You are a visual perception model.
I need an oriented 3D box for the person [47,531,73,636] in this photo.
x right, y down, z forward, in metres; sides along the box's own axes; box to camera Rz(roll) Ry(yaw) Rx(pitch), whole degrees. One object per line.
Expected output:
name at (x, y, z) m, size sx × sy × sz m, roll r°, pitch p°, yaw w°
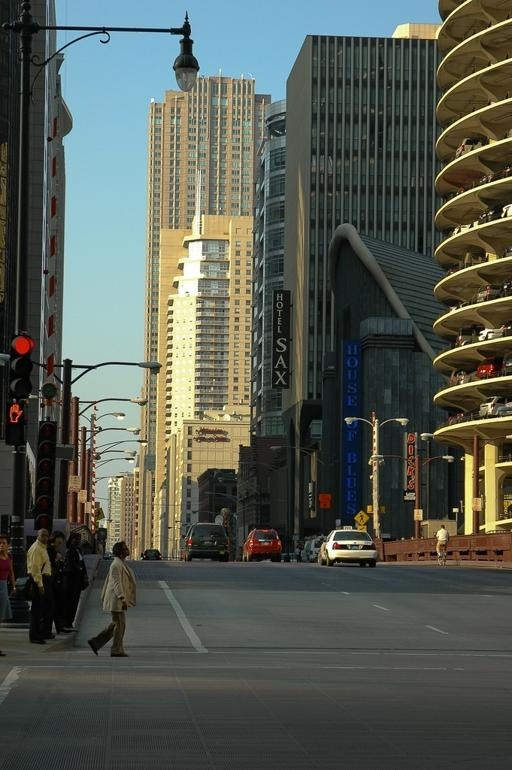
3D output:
person at (-2.845, 3.007, 22.866) m, size 0.429 × 2.054 × 0.739 m, roll 1°, pitch -3°, yaw -10°

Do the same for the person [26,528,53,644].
person at (-2.991, 2.760, 20.800) m, size 0.268 × 1.592 × 0.500 m, roll -2°, pitch -5°, yaw 6°

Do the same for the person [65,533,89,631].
person at (-2.744, 3.017, 23.136) m, size 0.250 × 1.531 × 0.461 m, roll 1°, pitch -3°, yaw -8°
